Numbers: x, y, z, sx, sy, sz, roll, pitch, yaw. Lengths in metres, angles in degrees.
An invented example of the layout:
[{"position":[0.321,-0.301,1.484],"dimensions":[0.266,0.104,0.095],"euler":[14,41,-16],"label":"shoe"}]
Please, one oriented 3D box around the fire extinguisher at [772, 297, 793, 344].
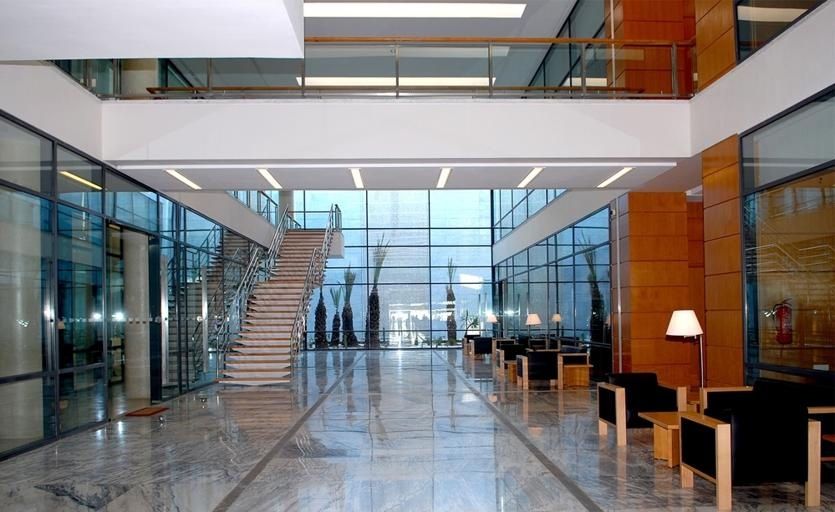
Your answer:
[{"position":[5.990,1.099,9.594],"dimensions":[0.079,0.756,0.347],"euler":[-1,0,-8],"label":"fire extinguisher"}]
